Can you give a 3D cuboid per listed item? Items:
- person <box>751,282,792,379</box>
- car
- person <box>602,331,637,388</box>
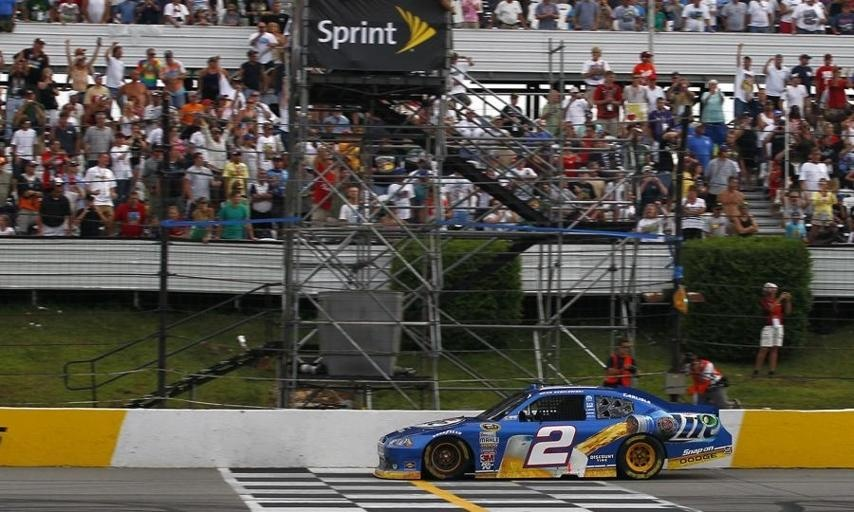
[{"bbox_3d":[7.331,1.576,46.787,0.606,1.827,1.322,2,7,15],"label":"person"},{"bbox_3d":[2.643,3.607,44.482,6.291,1.083,2.399,1,-5,-1],"label":"car"},{"bbox_3d":[4.032,2.486,45.679,0.678,1.164,0.452,3,26,3],"label":"person"}]
